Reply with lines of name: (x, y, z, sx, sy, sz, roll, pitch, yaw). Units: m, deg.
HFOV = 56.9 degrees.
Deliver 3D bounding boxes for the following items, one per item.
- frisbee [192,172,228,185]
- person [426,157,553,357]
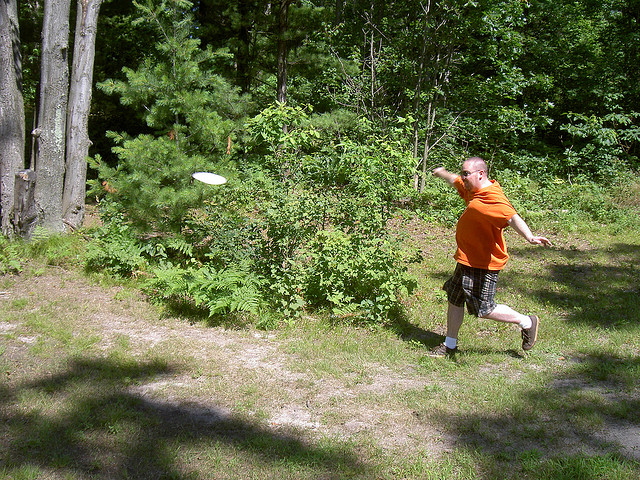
frisbee: (-1.621, -0.889, 8.733, 0.500, 0.158, 0.283, 10, 14, 18)
person: (2.241, 0.334, 7.904, 1.279, 2.724, 0.632, 10, 14, 19)
